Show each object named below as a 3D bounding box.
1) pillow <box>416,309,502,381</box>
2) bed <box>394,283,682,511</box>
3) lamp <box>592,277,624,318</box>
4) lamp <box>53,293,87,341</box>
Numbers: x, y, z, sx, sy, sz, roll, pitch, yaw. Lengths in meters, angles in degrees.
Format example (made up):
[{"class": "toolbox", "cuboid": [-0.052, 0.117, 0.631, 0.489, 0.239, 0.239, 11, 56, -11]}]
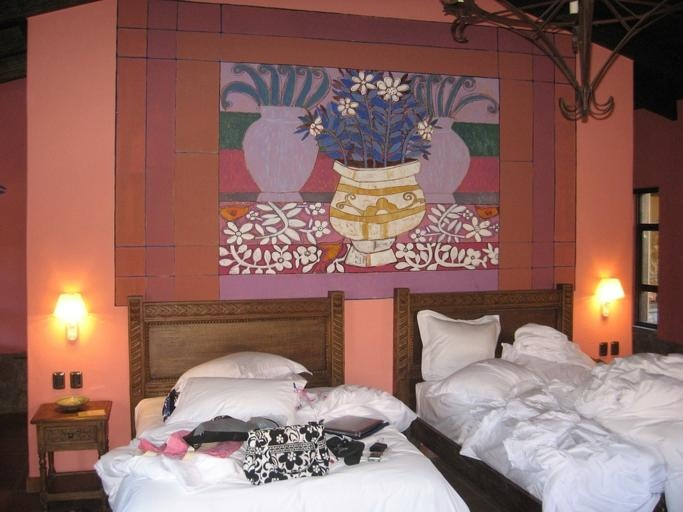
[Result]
[{"class": "pillow", "cuboid": [1.121, 0.837, 6.394, 0.857, 0.604, 0.234, 3, -7, -13]}, {"class": "bed", "cuboid": [1.541, 1.090, 5.849, 1.557, 1.337, 1.790, -2, 4, -21]}, {"class": "lamp", "cuboid": [2.647, 0.428, 6.833, 0.178, 0.337, 0.249, 17, -1, -17]}, {"class": "lamp", "cuboid": [-2.326, 0.521, 5.923, 0.265, 0.429, 0.185, -2, -2, -22]}]
